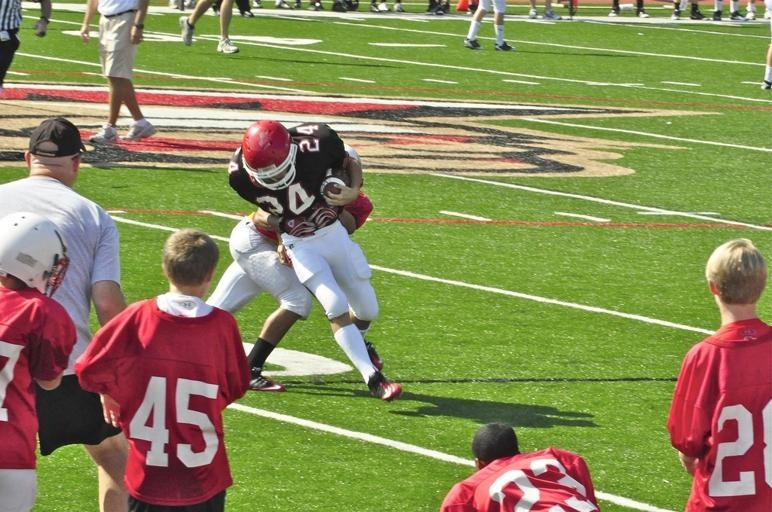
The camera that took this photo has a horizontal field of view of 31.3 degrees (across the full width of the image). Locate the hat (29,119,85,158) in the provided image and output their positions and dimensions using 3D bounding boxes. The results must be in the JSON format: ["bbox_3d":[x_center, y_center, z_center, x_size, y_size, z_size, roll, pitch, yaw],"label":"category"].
[{"bbox_3d":[-1.925,-0.714,8.114,0.272,0.133,0.297,2,14,5],"label":"hat"}]

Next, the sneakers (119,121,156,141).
[{"bbox_3d":[-2.631,-1.329,14.407,0.422,0.112,0.187,-9,-4,31],"label":"sneakers"}]

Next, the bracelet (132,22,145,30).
[{"bbox_3d":[-2.460,-2.326,13.745,0.104,0.067,0.084,5,22,9],"label":"bracelet"}]

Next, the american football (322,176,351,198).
[{"bbox_3d":[-0.345,-0.475,9.198,0.154,0.129,0.179,13,9,27],"label":"american football"}]

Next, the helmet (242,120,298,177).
[{"bbox_3d":[-0.687,-0.717,9.143,0.413,0.326,0.336,-5,-11,3],"label":"helmet"}]

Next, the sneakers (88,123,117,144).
[{"bbox_3d":[-2.958,-1.286,14.165,0.438,0.106,0.215,-4,-6,-8],"label":"sneakers"}]
